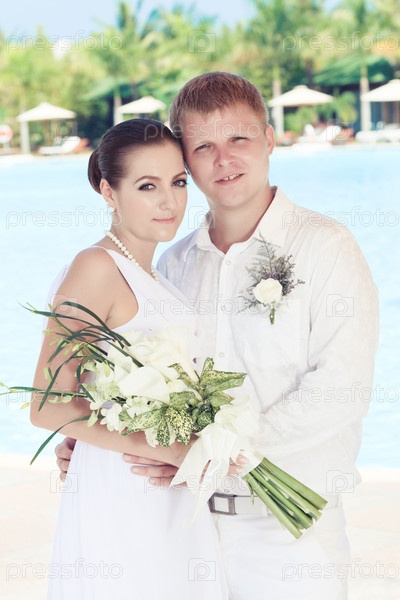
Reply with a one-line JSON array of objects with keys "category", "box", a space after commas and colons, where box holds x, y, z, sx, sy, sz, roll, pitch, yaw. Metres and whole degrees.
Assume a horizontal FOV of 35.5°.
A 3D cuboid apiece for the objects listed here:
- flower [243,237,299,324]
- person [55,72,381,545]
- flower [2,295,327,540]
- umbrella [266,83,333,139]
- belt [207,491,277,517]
[{"category": "flower", "box": [0.262, -0.064, 2.298, 0.313, 0.271, 0.129, -7, -10, 32]}, {"category": "person", "box": [0.077, -0.015, 2.366, 1.231, 1.643, 1.150, 0, -2, 27]}, {"category": "flower", "box": [-0.088, 0.352, 1.816, 0.854, 0.755, 0.407, -6, 7, -17]}, {"category": "umbrella", "box": [4.637, -9.189, 29.517, 3.790, 2.216, 3.399, -1, 3, 2]}, {"category": "belt", "box": [0.144, 0.704, 2.138, 0.230, 0.067, 0.155, 0, -7, 5]}]
